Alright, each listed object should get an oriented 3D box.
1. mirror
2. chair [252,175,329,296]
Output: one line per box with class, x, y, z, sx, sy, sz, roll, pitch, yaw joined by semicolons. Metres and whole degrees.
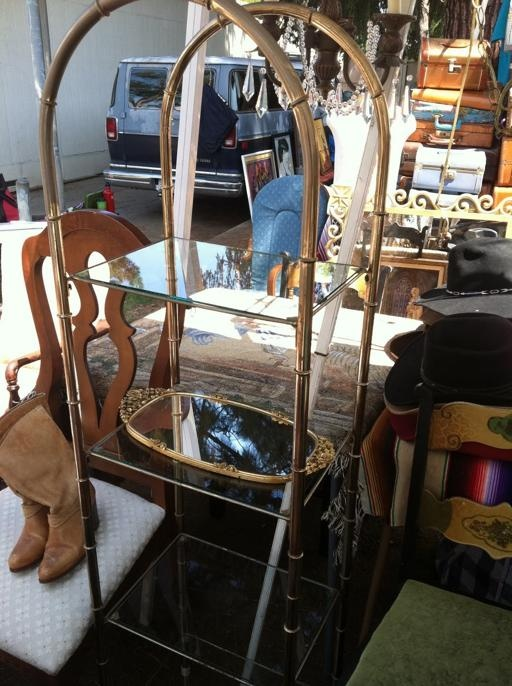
mirror;-0.070;0.131;0.985;0.327;0.039;0.170;16;28;22
chair;0.140;-0.436;2.474;0.375;0.636;0.426;0;10;19
